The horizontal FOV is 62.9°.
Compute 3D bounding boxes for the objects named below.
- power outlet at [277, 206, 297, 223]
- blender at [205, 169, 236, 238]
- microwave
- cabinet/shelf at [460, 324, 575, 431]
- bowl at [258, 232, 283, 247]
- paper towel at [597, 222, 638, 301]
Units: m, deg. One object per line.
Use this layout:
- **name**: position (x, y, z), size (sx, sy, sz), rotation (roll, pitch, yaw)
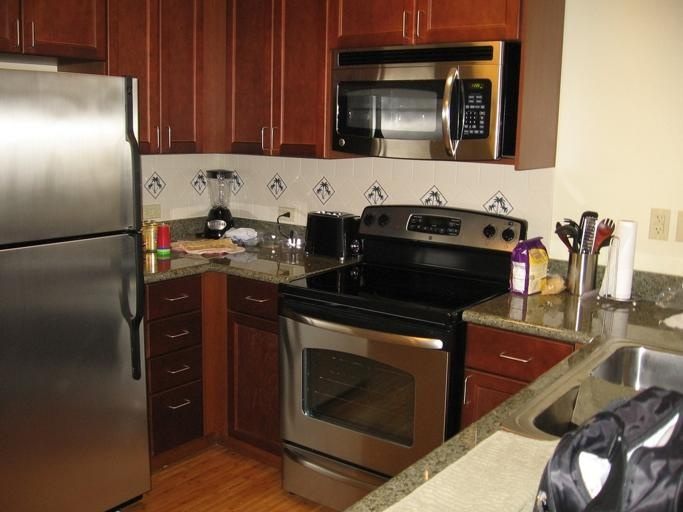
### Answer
- **power outlet**: position (-0.342, -0.252, 3.447), size (0.144, 0.100, 0.043), rotation (9, 11, 38)
- **blender**: position (-0.769, -0.333, 3.512), size (0.181, 0.414, 0.315), rotation (0, 9, -11)
- **microwave**: position (0.369, -0.689, 2.509), size (0.940, 0.606, 0.519), rotation (15, 21, 38)
- **cabinet/shelf**: position (0.628, 0.485, 2.246), size (0.398, 0.402, 0.435), rotation (-7, 19, -27)
- **bowl**: position (-0.459, -0.116, 3.467), size (0.103, 0.070, 0.107), rotation (2, 16, -1)
- **paper towel**: position (1.184, 0.020, 2.373), size (0.132, 0.340, 0.122), rotation (4, 8, 15)
